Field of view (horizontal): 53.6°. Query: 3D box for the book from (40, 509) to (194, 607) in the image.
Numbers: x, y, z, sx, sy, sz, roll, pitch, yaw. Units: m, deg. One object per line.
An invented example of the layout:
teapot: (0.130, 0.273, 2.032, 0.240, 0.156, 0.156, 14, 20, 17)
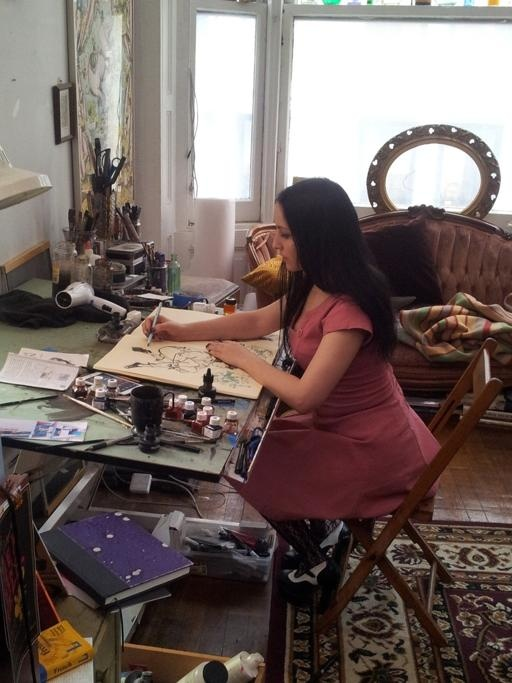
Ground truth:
book: (-0.318, 0.479, 1.133, 0.239, 0.066, 0.341, -2, 11, -45)

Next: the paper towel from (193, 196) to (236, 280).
paper towel: (-0.321, -0.819, 4.041, 0.286, 0.648, 0.280, 9, 19, 19)

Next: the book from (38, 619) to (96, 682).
book: (-0.278, 0.426, 0.706, 0.085, 0.030, 0.071, 13, 10, 42)

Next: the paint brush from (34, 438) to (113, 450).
paint brush: (-0.332, 0.187, 0.916, 0.153, 0.015, 0.016, -1, 5, -14)

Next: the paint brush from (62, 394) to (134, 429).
paint brush: (-0.333, 0.146, 1.074, 0.237, 0.015, 0.028, 11, 9, 33)

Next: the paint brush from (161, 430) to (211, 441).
paint brush: (-0.134, 0.180, 0.988, 0.095, 0.004, 0.030, 3, 20, 11)

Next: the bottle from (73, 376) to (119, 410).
bottle: (-0.359, 0.111, 1.131, 0.089, 0.037, 0.078, 3, 24, -15)

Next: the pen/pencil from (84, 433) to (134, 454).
pen/pencil: (-0.259, 0.187, 0.933, 0.024, 0.009, 0.080, 20, 19, 31)

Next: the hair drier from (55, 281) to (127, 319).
hair drier: (-0.574, -0.148, 1.779, 0.205, 0.075, 0.142, 16, 21, -3)

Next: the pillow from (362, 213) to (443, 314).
pillow: (0.902, -0.524, 3.322, 0.613, 0.671, 0.519, 5, 20, 15)

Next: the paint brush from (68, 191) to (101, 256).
paint brush: (-0.821, -0.523, 2.334, 0.085, 0.318, 0.193, 5, 19, 5)

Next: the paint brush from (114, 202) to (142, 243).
paint brush: (-0.695, -0.626, 2.765, 0.142, 0.163, 0.154, 4, 8, -17)
